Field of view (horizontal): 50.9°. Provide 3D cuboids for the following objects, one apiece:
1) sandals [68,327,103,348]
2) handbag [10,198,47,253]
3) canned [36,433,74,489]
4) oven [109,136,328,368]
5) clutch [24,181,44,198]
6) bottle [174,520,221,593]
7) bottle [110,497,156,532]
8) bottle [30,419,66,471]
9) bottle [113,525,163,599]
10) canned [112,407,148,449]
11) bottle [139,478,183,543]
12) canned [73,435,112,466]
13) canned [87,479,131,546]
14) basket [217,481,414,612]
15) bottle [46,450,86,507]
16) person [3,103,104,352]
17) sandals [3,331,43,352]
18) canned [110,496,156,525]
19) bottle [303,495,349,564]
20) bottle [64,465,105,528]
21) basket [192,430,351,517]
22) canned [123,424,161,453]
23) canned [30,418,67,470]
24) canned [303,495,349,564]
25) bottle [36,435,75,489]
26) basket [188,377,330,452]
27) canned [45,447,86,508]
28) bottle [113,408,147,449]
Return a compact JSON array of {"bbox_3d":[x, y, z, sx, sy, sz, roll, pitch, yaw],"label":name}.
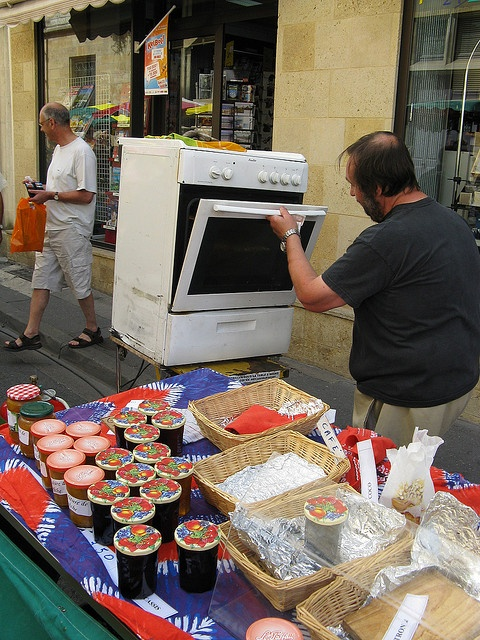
[{"bbox_3d":[-1.558,0.187,5.152,0.340,0.144,0.146,-8,13,-44],"label":"sandals"},{"bbox_3d":[-1.978,-0.877,4.722,0.292,0.511,0.387,11,15,29],"label":"handbag"},{"bbox_3d":[-0.486,0.394,1.440,0.124,0.131,0.124,2,14,-1],"label":"canned"},{"bbox_3d":[0.019,-0.471,3.334,1.210,1.619,1.307,-12,24,-40],"label":"oven"},{"bbox_3d":[-1.936,-1.229,4.742,0.050,0.190,0.197,-10,-4,43],"label":"clutch"},{"bbox_3d":[-0.089,0.492,1.027,0.087,0.139,0.100,3,13,-7],"label":"bottle"},{"bbox_3d":[-0.225,0.404,1.059,0.075,0.076,0.074,-2,14,-19],"label":"bottle"},{"bbox_3d":[-0.567,0.369,1.529,0.119,0.122,0.119,3,12,3],"label":"bottle"},{"bbox_3d":[-0.207,0.483,1.018,0.089,0.144,0.147,2,13,-11],"label":"bottle"},{"bbox_3d":[-0.324,0.305,1.489,0.098,0.104,0.103,7,24,0],"label":"canned"},{"bbox_3d":[-0.164,0.442,1.204,0.125,0.133,0.125,0,20,-6],"label":"bottle"},{"bbox_3d":[-0.418,0.363,1.424,0.067,0.069,0.068,3,21,-9],"label":"canned"},{"bbox_3d":[-0.285,0.424,1.110,0.098,0.138,0.094,11,26,9],"label":"canned"},{"bbox_3d":[0.157,0.440,1.009,0.266,0.070,0.209,-20,31,-31],"label":"basket"},{"bbox_3d":[-0.431,0.409,1.357,0.124,0.126,0.124,-1,19,-6],"label":"bottle"},{"bbox_3d":[-1.729,-0.867,4.919,0.675,2.397,0.523,7,13,13],"label":"person"},{"bbox_3d":[-2.156,0.222,5.044,0.336,0.161,0.167,2,10,-16],"label":"sandals"},{"bbox_3d":[-0.227,0.403,1.062,0.062,0.059,0.062,11,15,19],"label":"canned"},{"bbox_3d":[0.151,0.413,0.982,0.084,0.114,0.084,-1,27,0],"label":"bottle"},{"bbox_3d":[-0.384,0.422,1.280,0.125,0.132,0.125,-6,23,-20],"label":"bottle"},{"bbox_3d":[0.050,0.393,1.395,0.279,0.074,0.204,-17,30,-38],"label":"basket"},{"bbox_3d":[-0.268,0.311,1.383,0.069,0.067,0.071,-3,23,-16],"label":"canned"},{"bbox_3d":[-0.572,0.366,1.520,0.119,0.122,0.119,3,12,3],"label":"canned"},{"bbox_3d":[0.158,0.401,0.978,0.084,0.115,0.084,-5,28,-7],"label":"canned"},{"bbox_3d":[-0.488,0.408,1.447,0.123,0.129,0.123,1,15,-2],"label":"bottle"},{"bbox_3d":[0.012,0.319,1.776,0.295,0.098,0.247,-17,25,-34],"label":"basket"},{"bbox_3d":[-0.436,0.410,1.362,0.124,0.129,0.124,-1,18,-7],"label":"canned"},{"bbox_3d":[-0.326,0.307,1.498,0.097,0.102,0.103,7,21,2],"label":"bottle"}]
